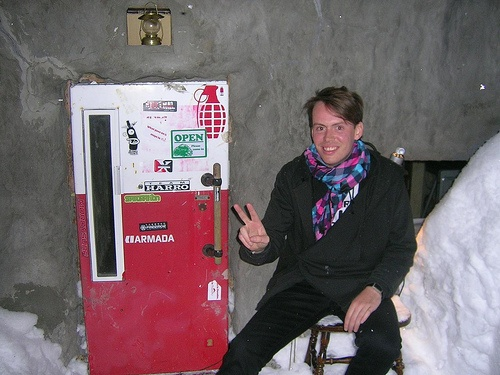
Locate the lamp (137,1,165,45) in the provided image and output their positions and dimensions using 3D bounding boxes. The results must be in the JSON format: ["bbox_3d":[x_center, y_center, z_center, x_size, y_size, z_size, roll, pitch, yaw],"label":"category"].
[{"bbox_3d":[-0.783,-1.301,3.842,0.192,0.328,0.130,-1,7,-15],"label":"lamp"}]
